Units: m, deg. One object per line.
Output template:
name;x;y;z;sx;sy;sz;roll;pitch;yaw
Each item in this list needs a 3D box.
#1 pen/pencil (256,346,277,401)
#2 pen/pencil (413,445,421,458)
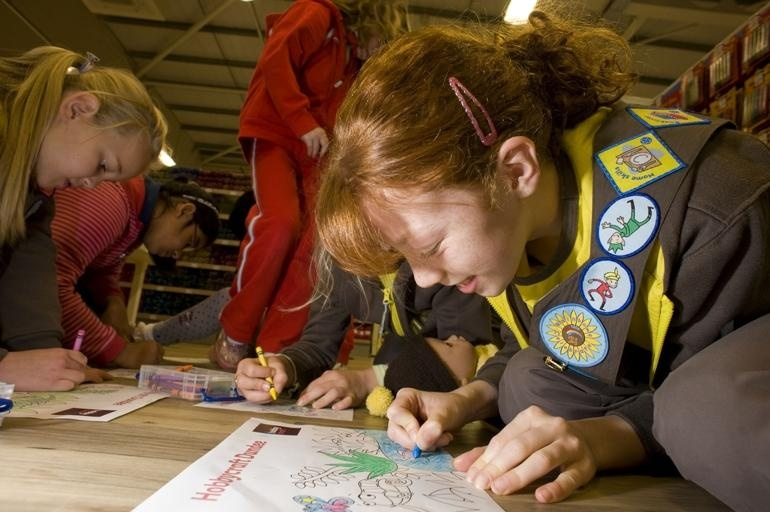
pen/pencil;-0.342;0.343;1.644;0.030;0.028;0.195;-19;44;-12
pen/pencil;0.074;0.439;1.274;0.017;0.028;0.011;4;-4;4
